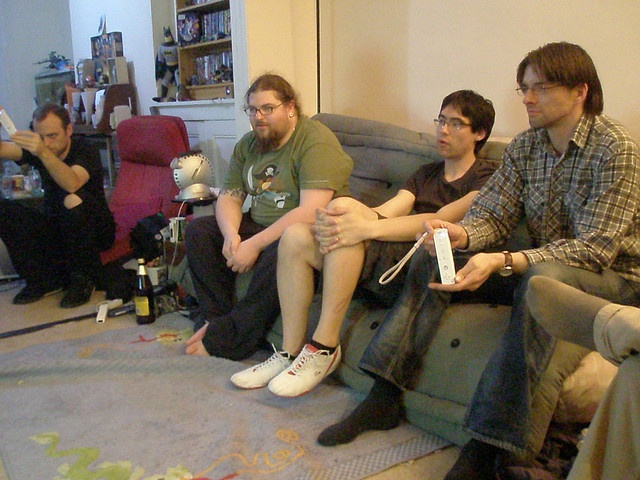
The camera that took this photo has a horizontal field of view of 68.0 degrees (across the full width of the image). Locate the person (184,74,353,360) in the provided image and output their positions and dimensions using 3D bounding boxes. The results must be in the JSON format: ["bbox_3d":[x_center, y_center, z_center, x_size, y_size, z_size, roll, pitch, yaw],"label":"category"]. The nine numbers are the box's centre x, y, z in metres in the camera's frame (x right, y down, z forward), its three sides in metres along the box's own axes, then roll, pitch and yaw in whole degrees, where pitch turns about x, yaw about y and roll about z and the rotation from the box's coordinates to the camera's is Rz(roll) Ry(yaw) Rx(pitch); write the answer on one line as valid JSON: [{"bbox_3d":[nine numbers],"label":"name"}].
[{"bbox_3d":[-0.318,-0.129,2.460,0.657,1.347,0.978,16,19,38],"label":"person"}]

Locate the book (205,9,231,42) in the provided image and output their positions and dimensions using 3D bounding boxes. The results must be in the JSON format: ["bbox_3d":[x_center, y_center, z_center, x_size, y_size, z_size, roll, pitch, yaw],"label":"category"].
[{"bbox_3d":[-0.995,-2.020,4.505,0.105,0.276,0.483,-9,15,-36],"label":"book"}]

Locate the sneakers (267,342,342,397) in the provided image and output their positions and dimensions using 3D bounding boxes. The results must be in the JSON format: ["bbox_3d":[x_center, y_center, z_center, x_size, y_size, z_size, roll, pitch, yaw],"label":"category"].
[{"bbox_3d":[-0.039,0.506,1.932,0.369,0.139,0.127,-21,21,-40],"label":"sneakers"}]

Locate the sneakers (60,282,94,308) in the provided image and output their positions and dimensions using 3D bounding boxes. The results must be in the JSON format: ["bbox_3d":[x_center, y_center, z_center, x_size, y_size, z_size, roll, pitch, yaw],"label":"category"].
[{"bbox_3d":[-1.555,0.349,3.038,0.205,0.132,0.142,-8,15,-32],"label":"sneakers"}]
